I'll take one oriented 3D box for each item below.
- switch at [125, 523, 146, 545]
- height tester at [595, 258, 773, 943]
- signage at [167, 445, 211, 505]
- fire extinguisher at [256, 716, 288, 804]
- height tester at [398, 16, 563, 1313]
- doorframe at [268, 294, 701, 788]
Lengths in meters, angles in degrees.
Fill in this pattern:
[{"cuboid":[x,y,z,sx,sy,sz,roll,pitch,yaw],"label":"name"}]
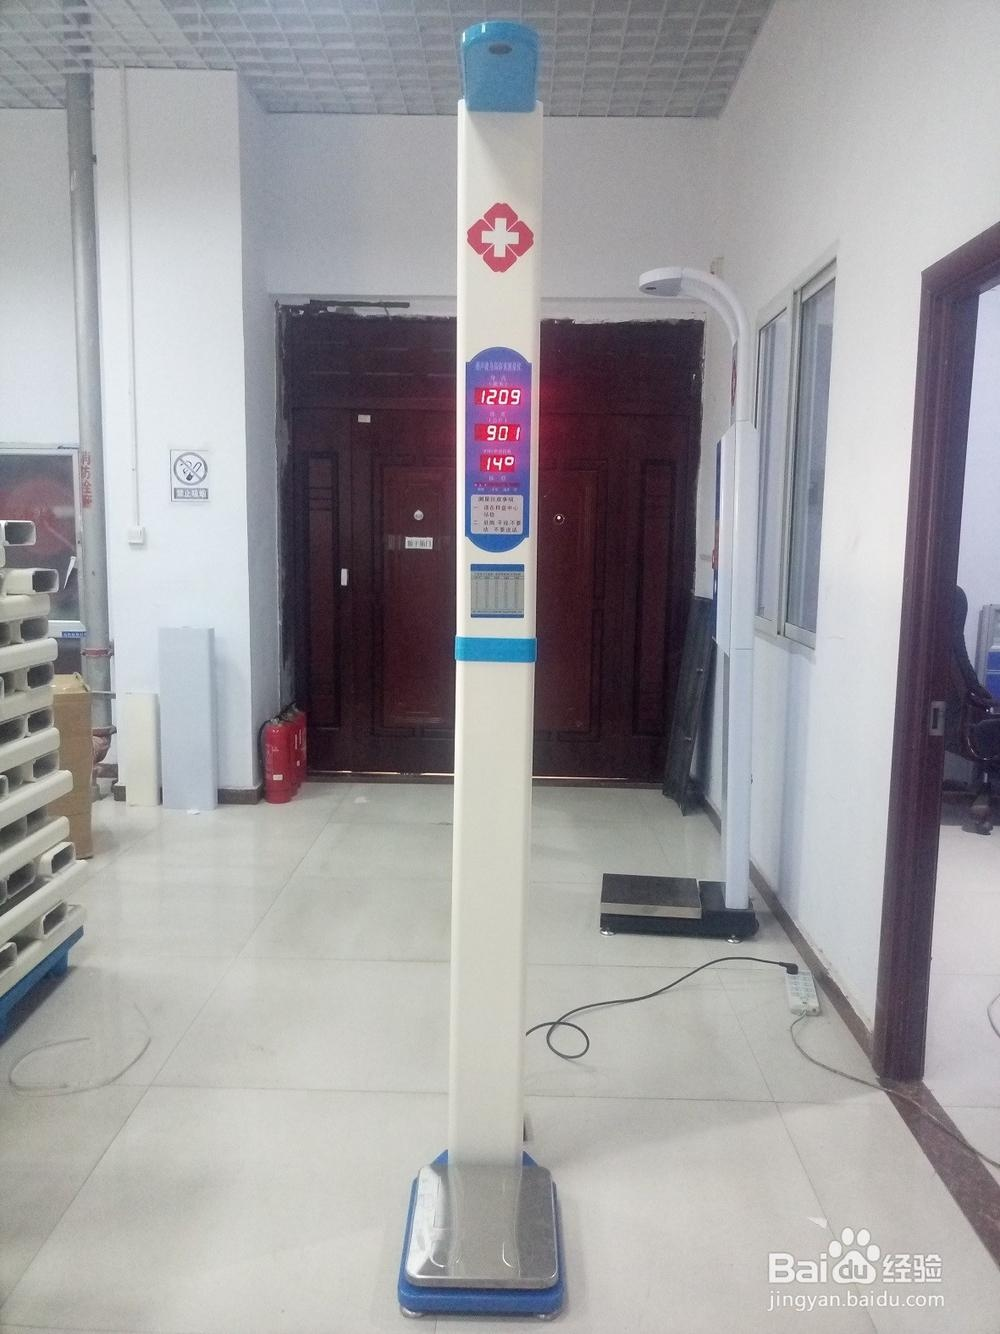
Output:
[{"cuboid":[-1.661,-0.590,4.701,0.090,0.149,0.063,0,9,-9],"label":"switch"},{"cuboid":[0.614,-0.157,3.301,0.467,2.081,0.508,2,6,17],"label":"height tester"},{"cuboid":[-1.410,-0.885,4.678,0.178,0.343,0.029,-1,3,-4],"label":"signage"},{"cuboid":[-1.062,0.466,4.883,0.123,0.376,0.086,0,6,-5],"label":"fire extinguisher"},{"cuboid":[-0.020,0.052,1.747,0.282,2.061,0.311,1,6,3],"label":"height tester"},{"cuboid":[-0.039,-0.499,5.456,2.128,0.264,3.146,2,48,1],"label":"doorframe"}]
